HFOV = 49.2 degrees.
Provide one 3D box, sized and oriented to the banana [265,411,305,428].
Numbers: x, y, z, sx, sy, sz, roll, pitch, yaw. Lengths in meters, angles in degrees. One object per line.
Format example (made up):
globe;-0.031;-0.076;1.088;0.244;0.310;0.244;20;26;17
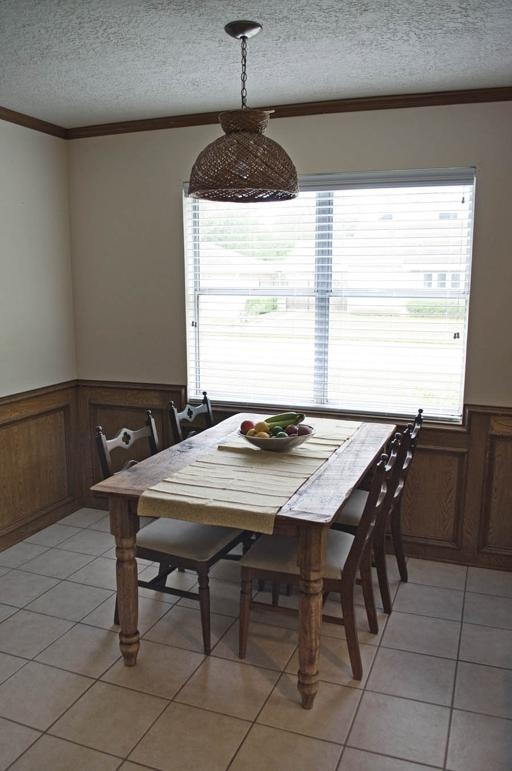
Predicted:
banana;0.130;0.156;2.614;0.150;0.057;0.077;-4;19;24

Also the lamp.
lamp;-0.043;-0.953;1.921;0.365;0.665;0.544;1;4;3

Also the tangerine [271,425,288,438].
tangerine;0.098;0.206;2.446;0.037;0.040;0.053;-10;-39;33

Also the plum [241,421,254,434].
plum;-0.035;0.192;2.559;0.050;0.066;0.051;6;-25;8

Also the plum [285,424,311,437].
plum;0.196;0.201;2.492;0.055;0.032;0.074;4;3;43
